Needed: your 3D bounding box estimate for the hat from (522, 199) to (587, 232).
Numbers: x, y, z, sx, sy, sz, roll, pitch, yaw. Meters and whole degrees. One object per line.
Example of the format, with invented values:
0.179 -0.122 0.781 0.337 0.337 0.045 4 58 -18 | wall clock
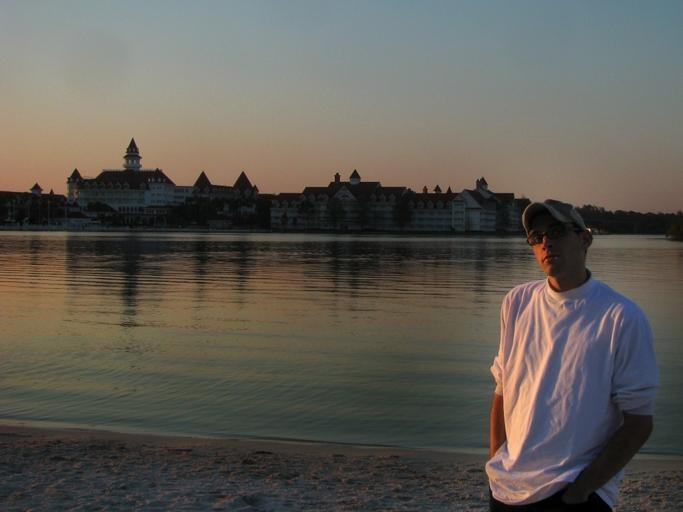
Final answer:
1.645 -0.299 8.160 0.438 0.166 0.299 25 -22 -33 | hat
